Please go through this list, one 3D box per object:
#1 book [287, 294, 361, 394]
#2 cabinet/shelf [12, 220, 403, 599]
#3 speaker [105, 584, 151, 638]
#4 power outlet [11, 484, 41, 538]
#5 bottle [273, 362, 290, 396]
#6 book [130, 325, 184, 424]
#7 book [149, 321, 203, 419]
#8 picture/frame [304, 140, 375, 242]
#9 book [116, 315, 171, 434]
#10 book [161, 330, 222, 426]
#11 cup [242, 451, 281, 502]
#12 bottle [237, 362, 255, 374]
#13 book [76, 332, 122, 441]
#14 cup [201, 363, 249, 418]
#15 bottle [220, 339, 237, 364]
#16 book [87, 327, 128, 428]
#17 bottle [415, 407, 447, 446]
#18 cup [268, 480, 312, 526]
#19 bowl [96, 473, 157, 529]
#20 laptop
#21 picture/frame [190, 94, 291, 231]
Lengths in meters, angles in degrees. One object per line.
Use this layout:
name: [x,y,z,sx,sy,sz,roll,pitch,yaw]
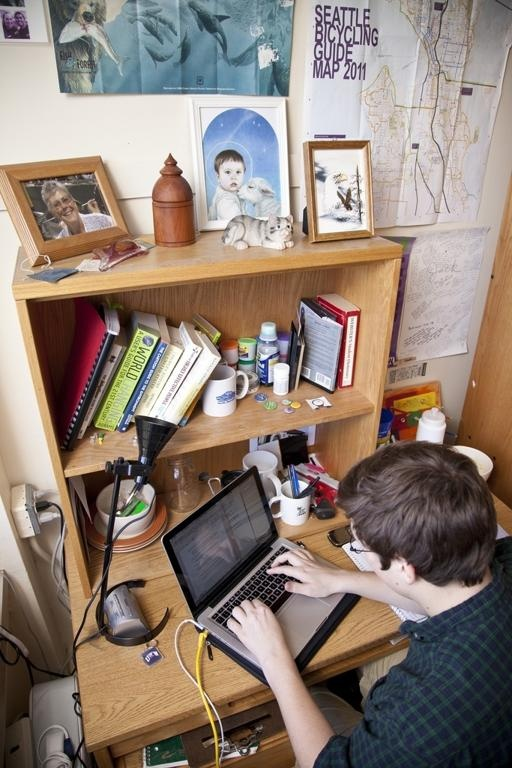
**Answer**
book: [0.169,-0.094,1.279,0.095,0.184,0.168,-8,30,-14]
cabinet/shelf: [-0.113,0.049,1.125,0.763,0.730,0.254,-17,38,-21]
speaker: [-0.264,0.466,1.081,0.076,0.034,0.106,-4,35,-16]
power outlet: [-0.537,0.294,1.228,0.050,0.083,0.096,-10,40,-11]
bottle: [0.061,-0.013,1.269,0.050,0.083,0.052,0,31,0]
book: [-0.201,-0.023,1.064,0.075,0.134,0.139,22,30,-13]
book: [-0.168,-0.028,1.090,0.054,0.151,0.154,26,24,-6]
picture/frame: [0.168,-0.397,1.088,0.193,0.243,0.039,-8,6,-28]
book: [-0.232,-0.010,1.097,0.044,0.191,0.192,19,39,-15]
book: [-0.122,0.006,1.130,0.039,0.172,0.170,27,20,-6]
cup: [0.020,0.224,1.399,0.076,0.095,0.128,-11,38,-18]
bottle: [-0.020,-0.040,1.281,0.026,0.028,0.026,-13,25,-28]
book: [-0.309,-0.004,1.036,0.039,0.169,0.161,23,7,-11]
cup: [-0.079,0.001,1.249,0.131,0.121,0.083,-12,34,-27]
bottle: [-0.063,-0.078,1.261,0.048,0.053,0.049,-8,30,-9]
book: [-0.310,-0.007,1.057,0.036,0.156,0.149,18,26,-16]
bottle: [0.493,0.124,1.493,0.071,0.114,0.124,9,35,18]
cup: [0.089,0.308,1.330,0.125,0.094,0.078,-19,35,-25]
bowl: [-0.310,0.282,1.257,0.122,0.077,0.126,3,25,-1]
laptop: [0.001,0.455,1.175,0.342,0.256,0.356,-30,44,-32]
picture/frame: [-0.041,-0.470,1.108,0.269,0.326,0.033,-11,27,-22]
